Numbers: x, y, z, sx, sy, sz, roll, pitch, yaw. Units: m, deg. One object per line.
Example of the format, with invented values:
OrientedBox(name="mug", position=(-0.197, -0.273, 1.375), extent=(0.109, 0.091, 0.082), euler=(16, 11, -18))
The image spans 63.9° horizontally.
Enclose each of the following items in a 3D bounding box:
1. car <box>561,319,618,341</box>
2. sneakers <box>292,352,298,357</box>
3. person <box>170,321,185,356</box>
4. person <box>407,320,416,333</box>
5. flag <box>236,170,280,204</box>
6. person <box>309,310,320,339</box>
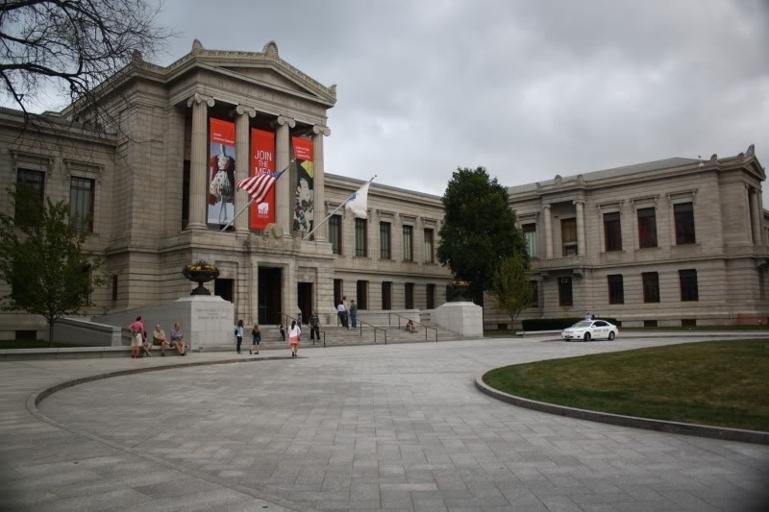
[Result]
OrientedBox(name="car", position=(13.339, 4.742, 39.777), extent=(3.688, 1.342, 1.448), euler=(5, -9, -25))
OrientedBox(name="sneakers", position=(-4.332, 4.723, 29.656), extent=(0.284, 0.277, 0.228), euler=(6, -17, -42))
OrientedBox(name="person", position=(-10.220, 4.057, 30.478), extent=(0.689, 1.537, 0.824), euler=(5, -9, -27))
OrientedBox(name="person", position=(1.884, 5.039, 44.621), extent=(0.674, 0.858, 1.202), euler=(0, -9, 4))
OrientedBox(name="flag", position=(-8.128, -4.599, 39.620), extent=(1.530, 2.021, 1.947), euler=(-2, -9, 16))
OrientedBox(name="person", position=(-4.266, 4.336, 37.740), extent=(0.522, 1.558, 1.217), euler=(1, -8, -3))
